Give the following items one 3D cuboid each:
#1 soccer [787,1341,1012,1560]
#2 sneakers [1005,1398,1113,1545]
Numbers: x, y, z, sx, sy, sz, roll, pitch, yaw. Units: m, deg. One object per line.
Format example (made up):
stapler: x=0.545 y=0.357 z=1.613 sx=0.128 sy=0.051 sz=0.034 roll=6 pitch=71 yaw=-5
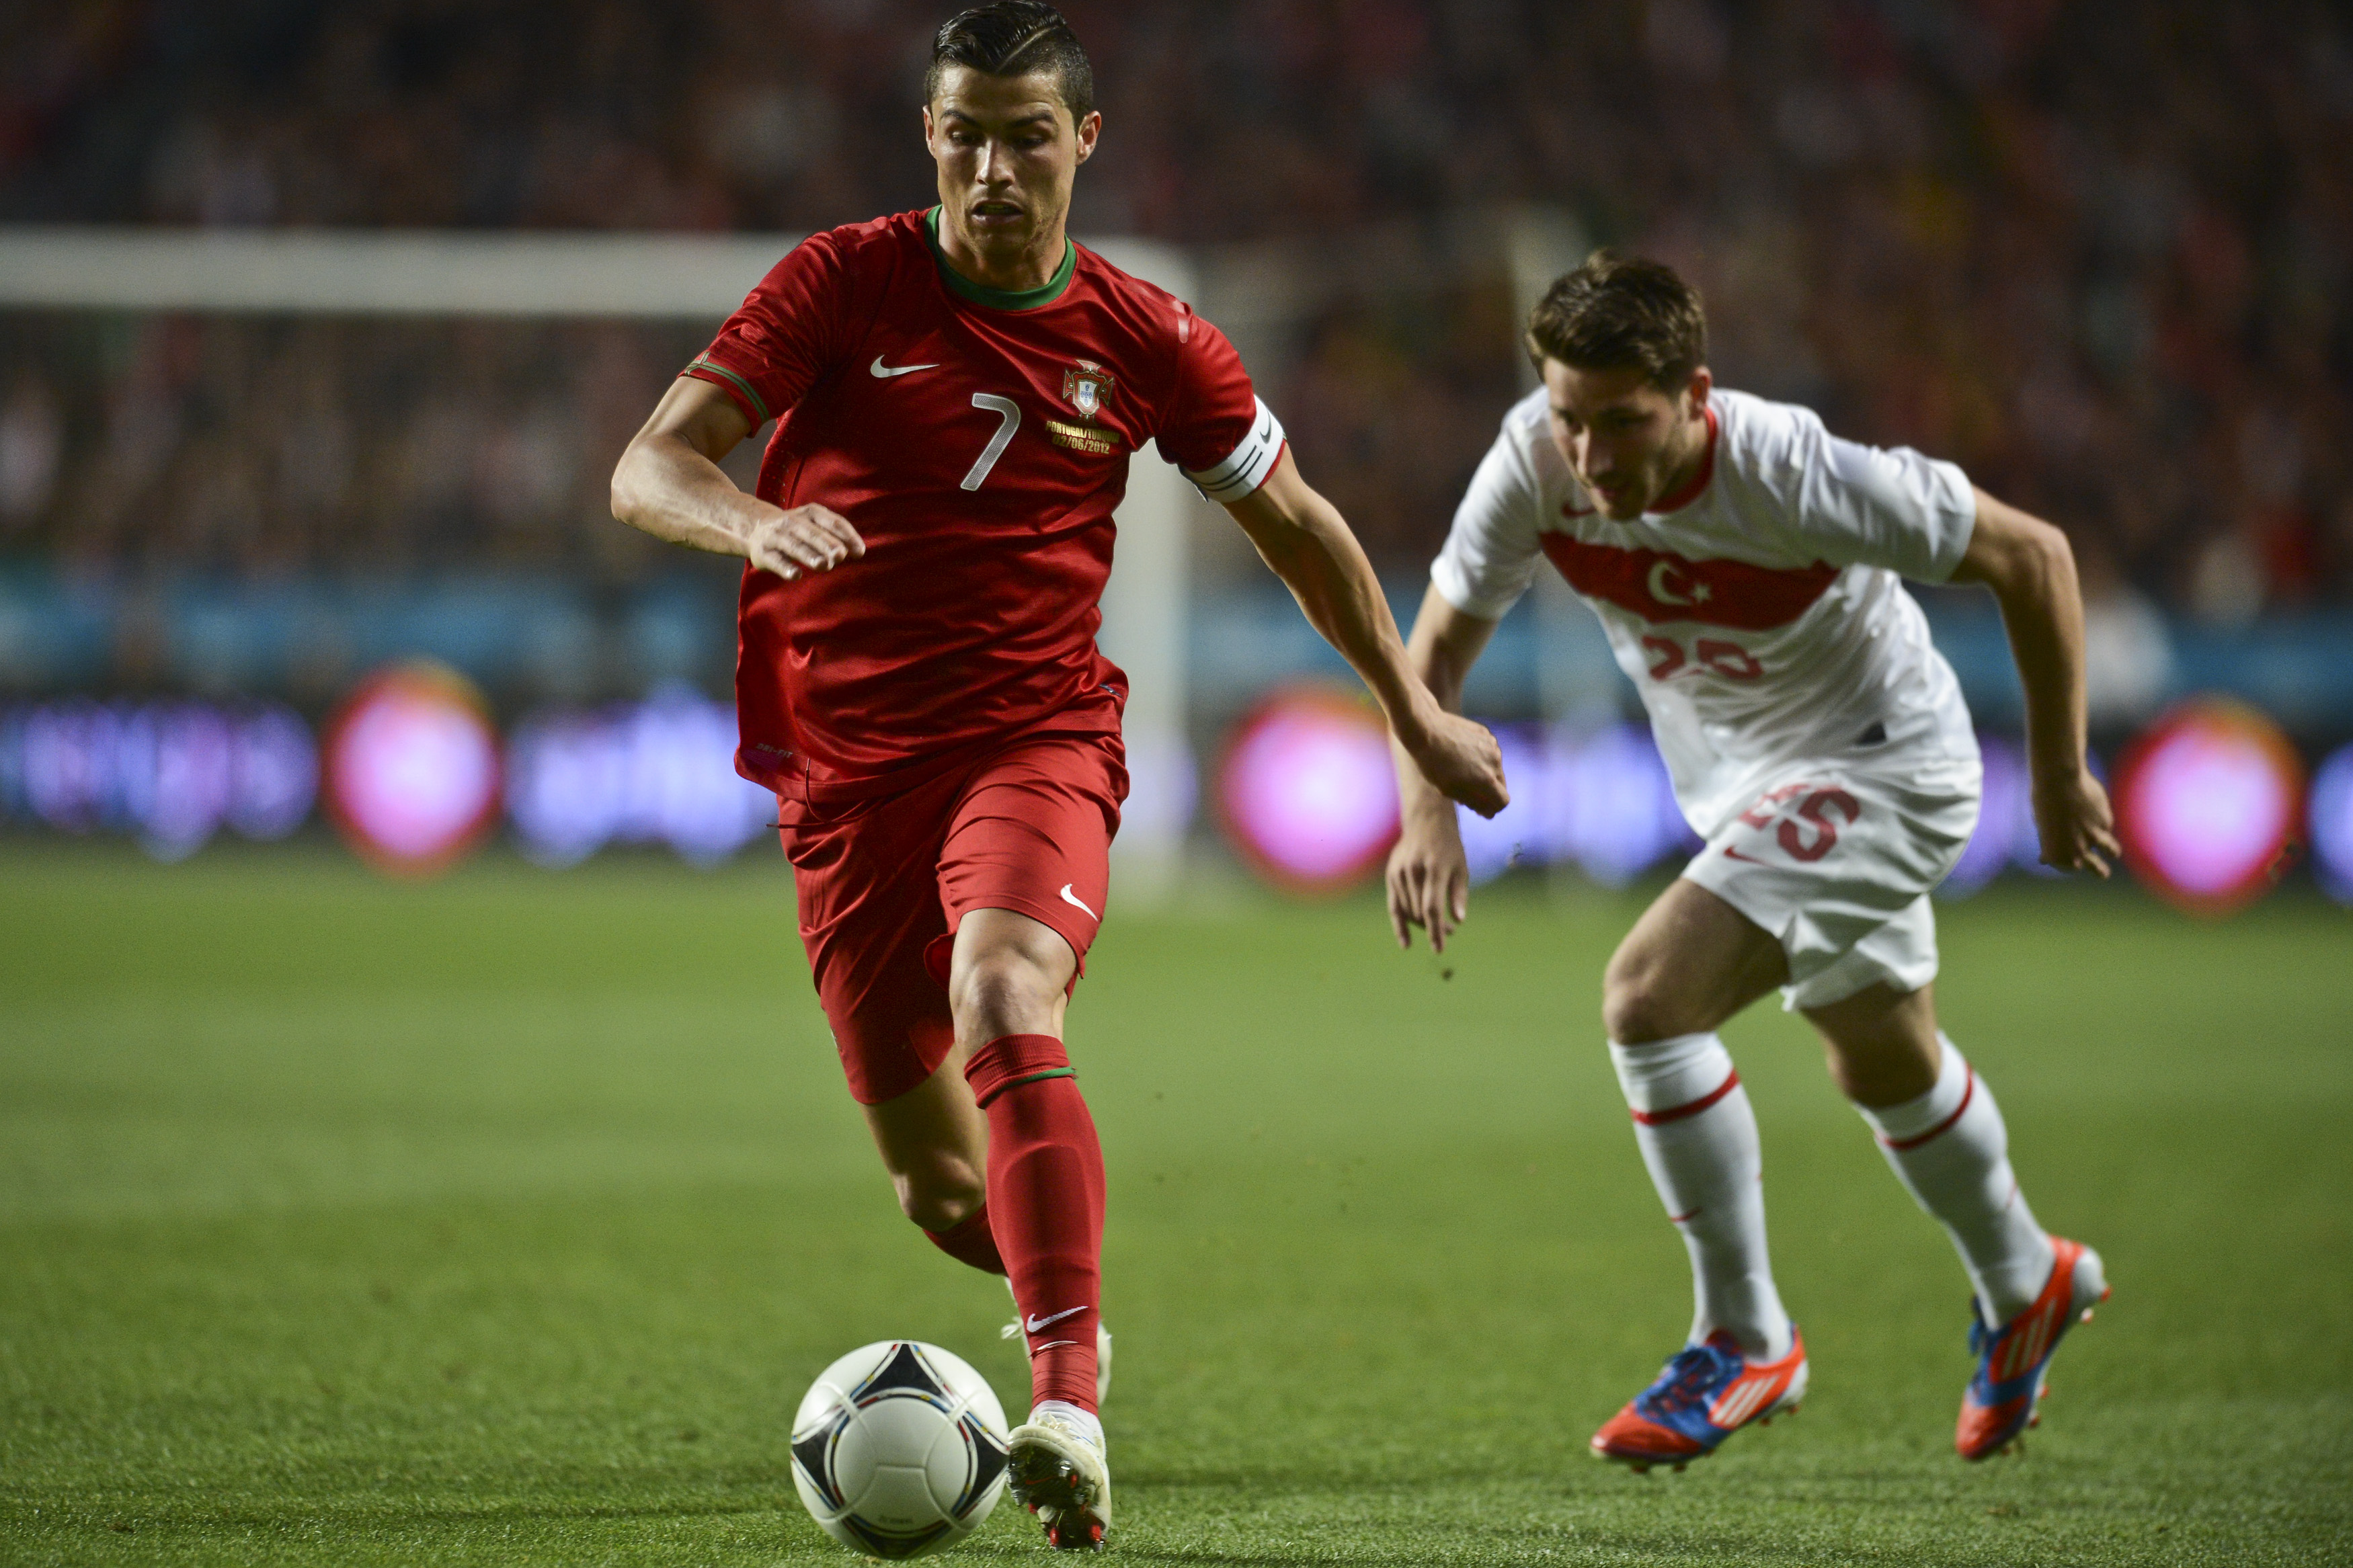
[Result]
soccer: x=-0.751 y=1.822 z=8.113 sx=0.524 sy=0.576 sz=0.532 roll=3 pitch=-8 yaw=-3
sneakers: x=-0.300 y=1.823 z=8.009 sx=0.158 sy=0.480 sz=0.234 roll=-10 pitch=27 yaw=6
